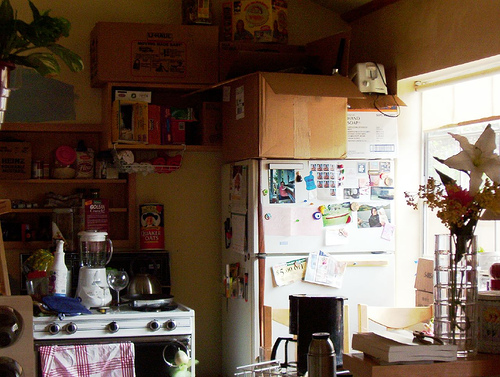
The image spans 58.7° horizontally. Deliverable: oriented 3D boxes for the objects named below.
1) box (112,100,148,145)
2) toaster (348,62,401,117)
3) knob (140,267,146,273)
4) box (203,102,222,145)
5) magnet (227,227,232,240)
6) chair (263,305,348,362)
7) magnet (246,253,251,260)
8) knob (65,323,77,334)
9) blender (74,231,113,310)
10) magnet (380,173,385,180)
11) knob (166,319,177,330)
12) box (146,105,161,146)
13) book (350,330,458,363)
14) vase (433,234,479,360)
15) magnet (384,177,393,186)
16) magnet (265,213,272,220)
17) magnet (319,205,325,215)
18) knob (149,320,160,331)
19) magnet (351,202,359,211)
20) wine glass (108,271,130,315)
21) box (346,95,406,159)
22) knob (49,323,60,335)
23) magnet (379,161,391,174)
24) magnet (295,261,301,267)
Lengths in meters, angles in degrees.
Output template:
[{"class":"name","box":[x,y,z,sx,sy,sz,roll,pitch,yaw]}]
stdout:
[{"class":"box","box":[-0.962,-0.516,3.483,0.301,0.293,0.277,1,7,-10]},{"class":"toaster","box":[0.945,-0.758,3.537,0.264,0.370,0.518,-1,-10,-16]},{"class":"knob","box":[-0.830,0.637,3.456,0.039,0.038,0.039,1,-5,12]},{"class":"box","box":[-0.350,-0.566,3.780,0.266,0.386,0.270,-2,11,-4]},{"class":"magnet","box":[-0.171,0.378,3.608,0.028,0.072,0.056,-1,-3,-30]},{"class":"chair","box":[0.347,0.921,2.817,0.526,0.395,0.369,-1,-2,12]},{"class":"magnet","box":[-0.013,0.499,3.229,0.033,0.060,0.033,1,0,-29]},{"class":"knob","box":[-1.093,0.853,2.700,0.060,0.059,0.018,-4,-4,-29]},{"class":"blender","box":[-1.098,0.566,3.131,0.236,0.514,0.340,0,-2,-17]},{"class":"magnet","box":[0.987,-0.089,3.336,0.031,0.056,0.028,-4,4,-39]},{"class":"knob","box":[-0.502,0.870,2.822,0.067,0.060,0.026,0,-2,-9]},{"class":"box","box":[-0.763,-0.494,3.538,0.092,0.319,0.076,0,-2,-6]},{"class":"book","box":[0.592,0.621,1.744,0.316,0.086,0.290,1,-2,-28]},{"class":"vase","box":[0.845,0.441,1.841,0.165,0.494,0.140,-1,-2,25]},{"class":"magnet","box":[1.038,-0.051,3.331,0.059,0.059,0.013,6,-7,-11]},{"class":"magnet","box":[0.122,0.201,3.177,0.049,0.048,0.012,-1,1,-11]},{"class":"magnet","box":[0.522,0.153,3.243,0.034,0.047,0.019,-3,-4,-18]},{"class":"knob","box":[-0.603,0.865,2.792,0.055,0.060,0.022,-3,-7,-20]},{"class":"magnet","box":[0.770,0.140,3.276,0.056,0.055,0.013,-2,1,-25]},{"class":"wine glass","box":[-0.903,0.705,3.042,0.164,0.291,0.170,2,-5,-35]},{"class":"box","box":[0.923,-0.445,3.524,0.555,0.522,0.336,-2,-18,19]},{"class":"knob","box":[-1.177,0.851,2.673,0.057,0.066,0.023,1,-2,-24]},{"class":"magnet","box":[1.014,-0.154,3.330,0.092,0.086,0.022,2,-3,-8]},{"class":"magnet","box":[0.342,0.549,3.218,0.033,0.034,0.064,1,11,-11]}]
